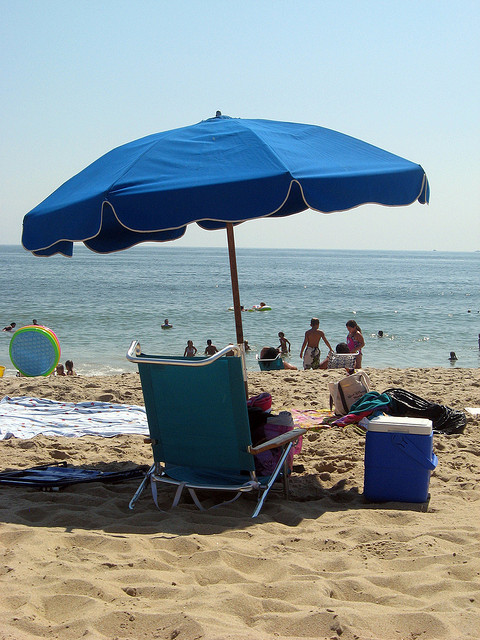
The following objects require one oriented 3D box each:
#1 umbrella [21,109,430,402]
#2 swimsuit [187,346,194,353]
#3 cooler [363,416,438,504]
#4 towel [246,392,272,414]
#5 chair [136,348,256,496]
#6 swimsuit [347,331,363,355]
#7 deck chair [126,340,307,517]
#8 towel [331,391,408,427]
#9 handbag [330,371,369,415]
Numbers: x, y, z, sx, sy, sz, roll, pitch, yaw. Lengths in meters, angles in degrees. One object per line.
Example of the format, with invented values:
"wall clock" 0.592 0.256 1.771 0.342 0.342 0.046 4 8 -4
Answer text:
"umbrella" 0.030 -0.372 5.037 2.730 1.938 2.524 -11 8 -24
"swimsuit" -1.130 0.675 16.275 0.176 0.131 0.042 -2 -7 8
"cooler" 1.119 0.912 4.549 0.493 0.486 0.533 11 -11 -41
"towel" 0.151 0.556 4.715 0.167 0.133 0.119 29 -52 -17
"chair" -0.141 0.595 4.392 0.682 0.761 0.977 -2 -7 28
"swimsuit" 1.658 0.331 10.315 0.201 0.294 0.235 -4 -35 -17
"deck chair" -0.321 0.626 4.321 0.936 0.858 1.251 -1 -6 26
"towel" 0.973 0.727 5.599 0.334 0.132 0.412 -15 0 -38
"handbag" 0.858 0.631 5.848 0.284 0.237 0.188 -7 -38 44
